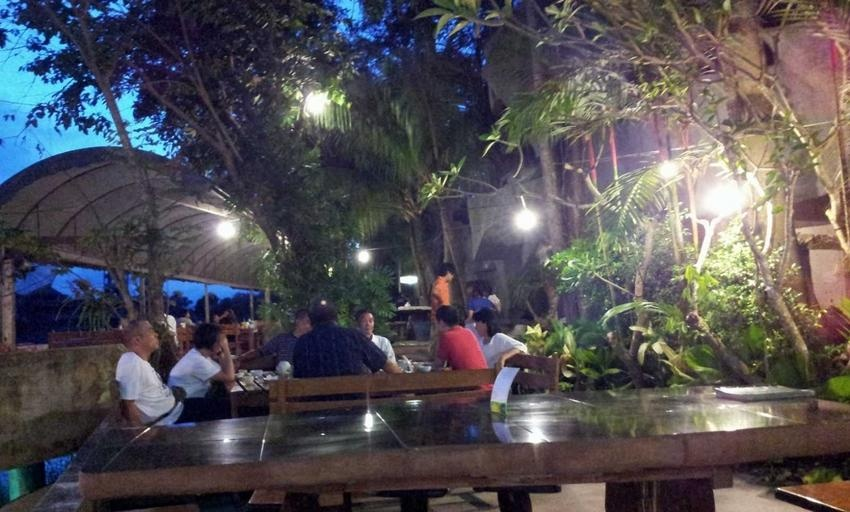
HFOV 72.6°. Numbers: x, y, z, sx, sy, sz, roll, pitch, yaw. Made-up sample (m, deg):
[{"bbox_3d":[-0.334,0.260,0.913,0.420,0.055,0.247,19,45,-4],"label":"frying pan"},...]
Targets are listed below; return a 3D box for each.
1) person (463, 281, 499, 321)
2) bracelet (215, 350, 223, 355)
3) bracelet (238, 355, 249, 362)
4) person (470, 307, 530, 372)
[{"bbox_3d":[0.979,0.885,10.727,0.481,0.821,0.494,-3,23,-10],"label":"person"},{"bbox_3d":[-2.770,1.304,7.766,0.109,0.088,0.083,-2,2,-14],"label":"bracelet"},{"bbox_3d":[-2.659,1.505,8.459,0.142,0.039,0.142,1,-1,2],"label":"bracelet"},{"bbox_3d":[1.084,1.209,8.387,0.561,1.241,0.767,-2,-18,-23],"label":"person"}]
